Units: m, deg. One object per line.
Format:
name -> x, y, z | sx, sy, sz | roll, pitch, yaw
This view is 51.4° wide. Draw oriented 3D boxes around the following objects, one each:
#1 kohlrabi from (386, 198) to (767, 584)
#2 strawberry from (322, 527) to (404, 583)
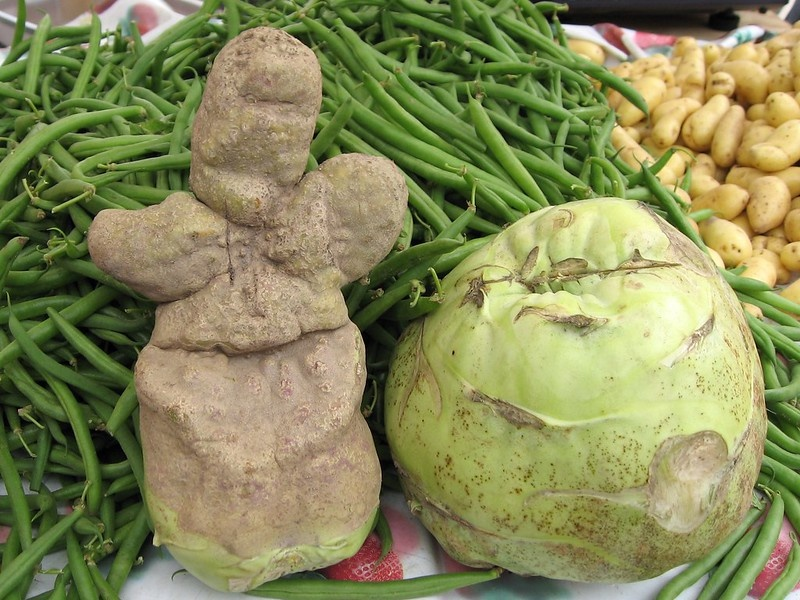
kohlrabi -> 0.354, 0.211, 1.746 | 0.772, 0.656, 0.669 | -1, 38, 15
strawberry -> -0.065, 0.490, 1.590 | 0.113, 0.083, 0.061 | -8, 69, -1
